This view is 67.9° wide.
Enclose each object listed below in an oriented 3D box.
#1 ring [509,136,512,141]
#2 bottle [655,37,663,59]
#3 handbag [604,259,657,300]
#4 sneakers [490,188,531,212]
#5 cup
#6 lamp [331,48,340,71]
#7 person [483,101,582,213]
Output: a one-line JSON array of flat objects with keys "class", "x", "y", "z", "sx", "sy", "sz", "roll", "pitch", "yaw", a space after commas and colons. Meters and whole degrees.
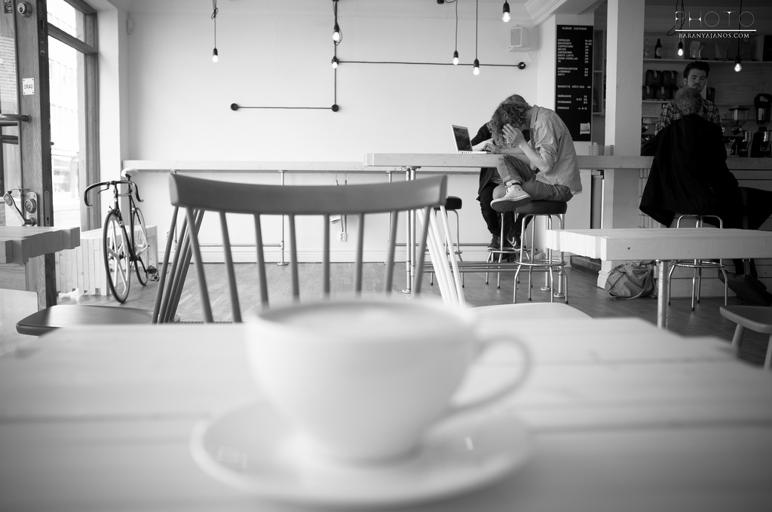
[{"class": "ring", "x": 0.910, "y": -0.858, "z": 4.183, "sx": 0.030, "sy": 0.032, "sz": 0.008, "roll": -2, "pitch": -2, "yaw": 20}, {"class": "bottle", "x": 3.316, "y": -2.508, "z": 6.958, "sx": 0.099, "sy": 0.281, "sz": 0.200, "roll": 3, "pitch": 5, "yaw": 26}, {"class": "handbag", "x": 2.027, "y": 0.206, "z": 4.789, "sx": 0.263, "sy": 0.164, "sz": 0.356, "roll": -4, "pitch": 8, "yaw": -3}, {"class": "sneakers", "x": 0.896, "y": -0.424, "z": 4.178, "sx": 0.310, "sy": 0.147, "sz": 0.219, "roll": -7, "pitch": 23, "yaw": -11}, {"class": "cup", "x": 0.007, "y": 0.071, "z": 0.467, "sx": 0.175, "sy": 0.089, "sz": 0.149, "roll": 1, "pitch": 5, "yaw": 1}, {"class": "lamp", "x": -0.612, "y": -2.391, "z": 6.883, "sx": 0.093, "sy": 0.259, "sz": 0.359, "roll": 0, "pitch": 5, "yaw": -5}, {"class": "person", "x": 1.115, "y": -0.763, "z": 4.302, "sx": 0.701, "sy": 0.845, "sz": 0.464, "roll": 1, "pitch": 4, "yaw": -2}]
